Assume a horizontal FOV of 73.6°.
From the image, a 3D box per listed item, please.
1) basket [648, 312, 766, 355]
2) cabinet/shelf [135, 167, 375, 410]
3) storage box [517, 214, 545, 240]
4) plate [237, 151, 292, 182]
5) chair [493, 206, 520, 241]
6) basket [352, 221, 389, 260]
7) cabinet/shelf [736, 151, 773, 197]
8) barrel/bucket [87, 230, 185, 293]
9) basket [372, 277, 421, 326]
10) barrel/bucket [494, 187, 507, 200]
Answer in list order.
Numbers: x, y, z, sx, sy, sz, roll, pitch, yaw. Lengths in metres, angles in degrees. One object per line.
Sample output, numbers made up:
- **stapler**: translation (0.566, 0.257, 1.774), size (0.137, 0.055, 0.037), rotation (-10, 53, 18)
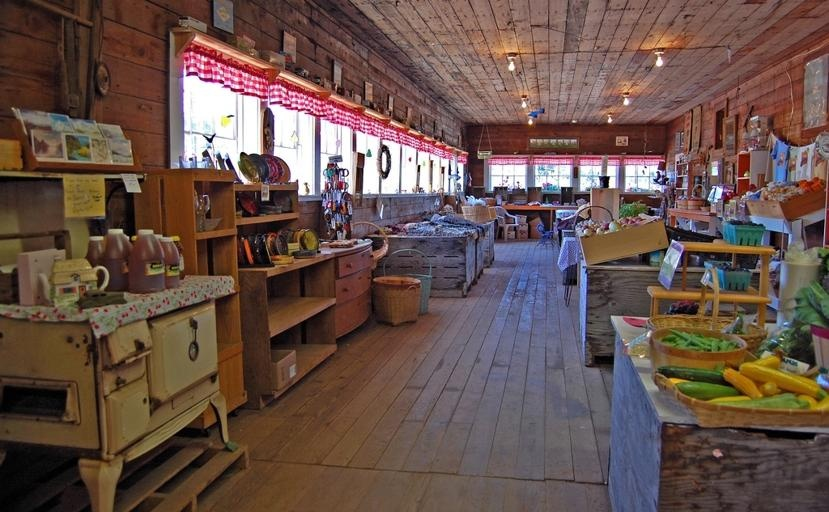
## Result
- **basket**: translation (1.706, 0.394, 3.086), size (0.369, 0.092, 0.354), rotation (-4, 3, -12)
- **cabinet/shelf**: translation (-1.300, 0.316, 4.511), size (0.871, 1.564, 2.218), rotation (0, 6, 5)
- **storage box**: translation (3.457, -0.870, 16.545), size (0.772, 0.674, 0.580), rotation (0, 13, 6)
- **plate**: translation (-1.405, -0.808, 5.157), size (0.330, 0.076, 0.334), rotation (36, 22, 21)
- **chair**: translation (2.774, -0.976, 16.323), size (0.641, 0.940, 0.761), rotation (3, 14, 16)
- **basket**: translation (-0.514, -0.202, 7.708), size (0.538, 0.490, 0.659), rotation (-5, 8, -36)
- **cabinet/shelf**: translation (5.429, -1.319, 8.799), size (0.370, 0.694, 0.780), rotation (4, 14, 19)
- **barrel/bucket**: translation (-1.635, 0.042, 3.454), size (0.333, 0.404, 0.581), rotation (-1, -3, 38)
- **basket**: translation (-0.190, 0.510, 6.679), size (0.569, 0.450, 0.613), rotation (0, 3, 27)
- **barrel/bucket**: translation (2.650, -1.876, 16.913), size (0.401, 0.429, 0.354), rotation (1, 13, 7)
